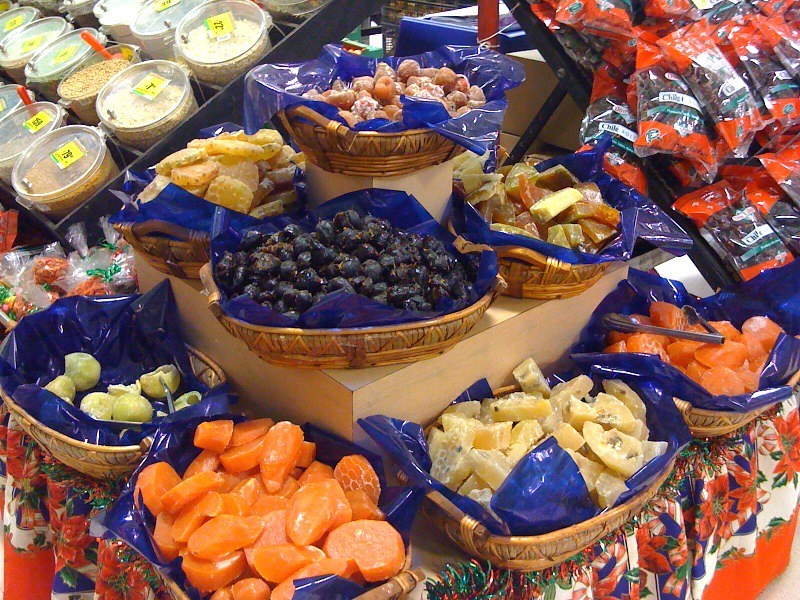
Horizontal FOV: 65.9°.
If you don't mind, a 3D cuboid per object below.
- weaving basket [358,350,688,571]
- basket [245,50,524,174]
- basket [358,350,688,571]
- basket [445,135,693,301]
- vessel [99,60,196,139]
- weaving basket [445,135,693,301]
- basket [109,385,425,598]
[{"bbox_3d":[0.391,0.463,1.659,0.565,0.240,0.593,-28,35,-8],"label":"weaving basket"},{"bbox_3d":[-0.057,-0.609,1.991,0.544,0.242,0.548,-24,40,-29],"label":"basket"},{"bbox_3d":[0.385,0.467,1.665,0.565,0.240,0.593,-28,35,-8],"label":"basket"},{"bbox_3d":[0.539,-0.288,2.070,0.746,0.299,0.527,-20,69,-9],"label":"basket"},{"bbox_3d":[-1.191,-0.952,2.945,0.250,0.262,0.272,34,64,20],"label":"vessel"},{"bbox_3d":[0.572,-0.177,2.026,0.621,0.250,0.626,-25,50,-29],"label":"weaving basket"},{"bbox_3d":[-0.319,0.561,1.646,0.794,0.443,0.522,14,67,5],"label":"basket"}]
